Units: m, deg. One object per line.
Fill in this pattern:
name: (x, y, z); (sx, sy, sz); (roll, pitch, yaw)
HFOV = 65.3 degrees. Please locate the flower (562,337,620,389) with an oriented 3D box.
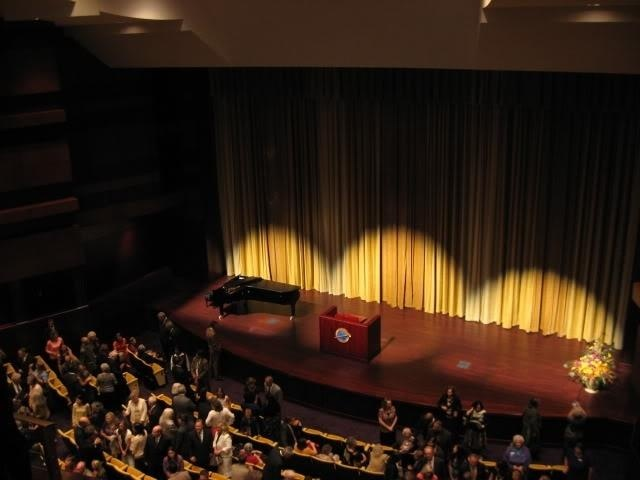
flower: (5.439, 2.669, 10.112); (0.880, 0.950, 1.100); (16, -51, 28)

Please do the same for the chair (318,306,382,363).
chair: (0.662, 2.121, 11.242); (1.187, 0.728, 0.924); (10, -70, 32)

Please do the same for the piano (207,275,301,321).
piano: (-1.621, 1.453, 12.692); (1.873, 1.261, 0.863); (5, -71, 10)
